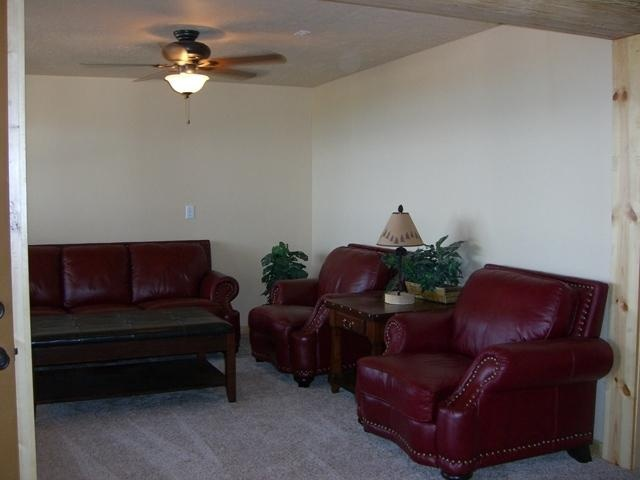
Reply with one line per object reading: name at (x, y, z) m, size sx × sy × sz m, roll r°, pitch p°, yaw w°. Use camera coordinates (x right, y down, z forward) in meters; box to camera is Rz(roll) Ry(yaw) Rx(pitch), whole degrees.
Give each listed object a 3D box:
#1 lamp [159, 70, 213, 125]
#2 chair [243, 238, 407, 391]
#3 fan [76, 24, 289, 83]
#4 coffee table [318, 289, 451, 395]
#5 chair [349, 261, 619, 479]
lamp at (-1.011, -1.056, 3.894) m, size 0.337 × 0.338 × 0.334 m, roll 0°, pitch 3°, yaw 27°
chair at (-0.101, 0.584, 4.568) m, size 1.274 × 1.018 × 1.129 m, roll -2°, pitch 3°, yaw -33°
fan at (-1.048, -1.373, 3.839) m, size 0.909 × 0.177 × 0.959 m, roll 0°, pitch 16°, yaw 43°
coffee table at (0.550, 0.784, 4.043) m, size 0.856 × 0.792 × 0.823 m, roll 0°, pitch 3°, yaw -30°
chair at (0.890, 0.713, 3.128) m, size 1.225 × 0.997 × 1.290 m, roll -1°, pitch 5°, yaw -25°
